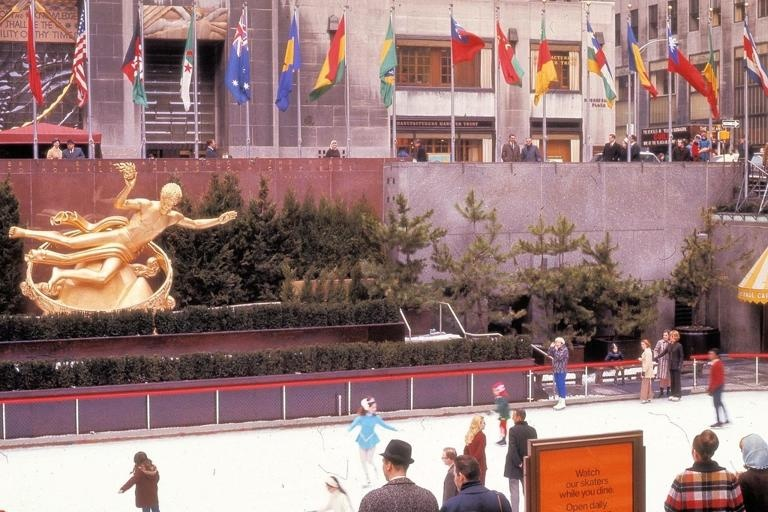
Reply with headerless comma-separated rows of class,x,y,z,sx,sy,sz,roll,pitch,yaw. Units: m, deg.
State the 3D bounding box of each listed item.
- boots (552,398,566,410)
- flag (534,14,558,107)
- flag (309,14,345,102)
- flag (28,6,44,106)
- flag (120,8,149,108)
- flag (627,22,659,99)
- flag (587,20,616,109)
boots,7.288,6.139,84.454,0.617,0.651,0.302,4,1,43
flag,7.265,-8.817,92.331,0.691,4.713,1.226,1,-1,13
flag,-2.412,-9.080,91.819,1.353,3.678,0.707,0,2,10
flag,-15.606,-9.169,90.693,0.511,4.412,2.772,-1,2,-9
flag,-11.150,-8.956,90.442,0.840,4.308,0.500,-1,-3,-6
flag,11.474,-9.074,92.289,0.751,3.569,0.502,-6,21,26
flag,9.959,-8.783,93.237,1.189,3.726,3.569,-1,2,7
